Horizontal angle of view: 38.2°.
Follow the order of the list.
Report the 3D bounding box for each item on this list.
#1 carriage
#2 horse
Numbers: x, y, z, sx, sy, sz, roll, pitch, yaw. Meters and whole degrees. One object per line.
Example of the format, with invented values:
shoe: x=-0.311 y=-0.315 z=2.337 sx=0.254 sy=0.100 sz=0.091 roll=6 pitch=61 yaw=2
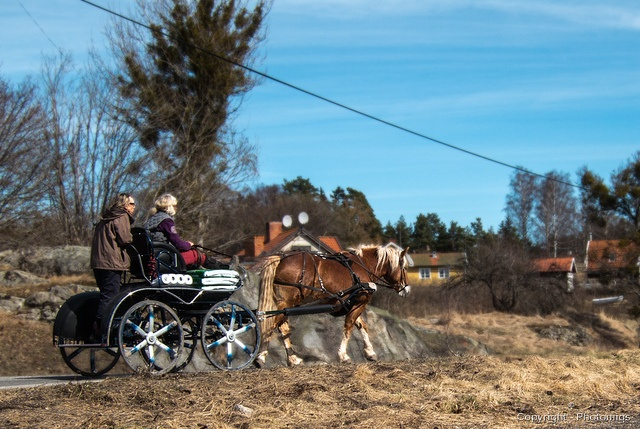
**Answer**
carriage: x=-5.442 y=2.783 z=31.075 sx=6.771 sy=5.410 sz=4.202 roll=0 pitch=-1 yaw=-25
horse: x=0.482 y=3.300 z=32.476 sx=5.588 sy=4.456 sz=2.388 roll=2 pitch=-8 yaw=-13
